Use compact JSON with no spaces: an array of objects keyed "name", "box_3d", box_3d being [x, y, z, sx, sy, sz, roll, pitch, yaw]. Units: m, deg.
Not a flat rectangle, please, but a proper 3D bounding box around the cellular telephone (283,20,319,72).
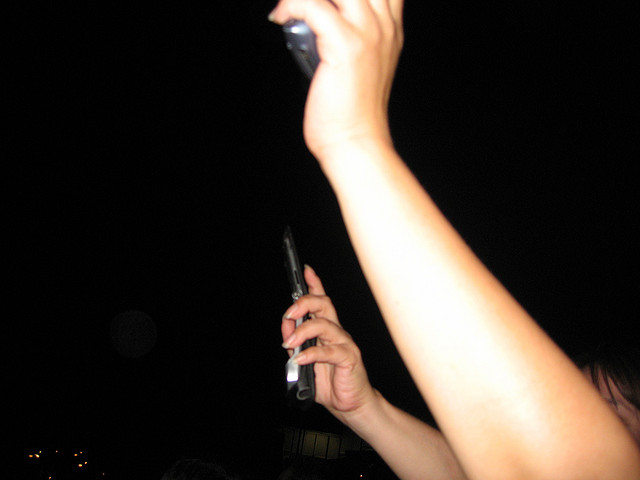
[{"name":"cellular telephone","box_3d":[-0.059,-0.766,2.184,0.101,0.207,0.074,-29,9,15]}]
